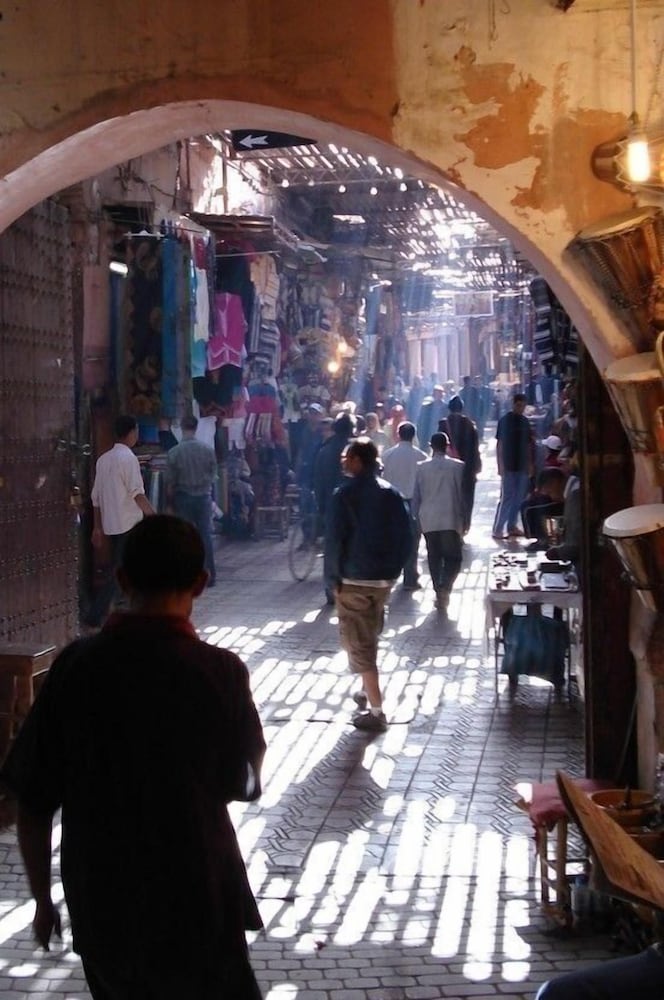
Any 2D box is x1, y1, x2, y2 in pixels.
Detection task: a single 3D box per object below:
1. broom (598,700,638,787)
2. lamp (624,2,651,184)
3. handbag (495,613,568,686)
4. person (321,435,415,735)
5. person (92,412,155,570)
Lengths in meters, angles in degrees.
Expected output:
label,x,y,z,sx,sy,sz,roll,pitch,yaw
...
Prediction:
label,x,y,z,sx,sy,sz,roll,pitch,yaw
broom,1.189,0.990,3.415,0.120,0.351,0.176,0,2,8
lamp,0.926,-1.250,2.518,0.071,0.581,0.193,1,2,21
handbag,1.379,1.018,5.701,0.423,0.478,0.184,0,2,9
person,0.219,0.646,5.260,0.535,1.583,0.316,0,2,1
person,-1.801,0.123,7.133,0.497,1.679,0.429,10,18,17
